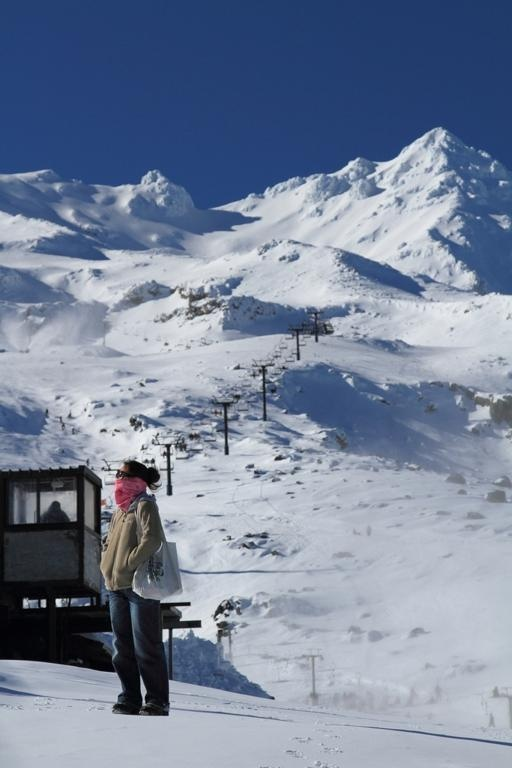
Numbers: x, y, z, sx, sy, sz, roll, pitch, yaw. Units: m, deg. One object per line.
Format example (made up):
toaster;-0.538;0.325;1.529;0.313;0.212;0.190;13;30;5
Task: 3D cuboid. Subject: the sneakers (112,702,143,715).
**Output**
sneakers;-1.325;3.385;15.132;0.293;0.127;0.119;10;-19;2

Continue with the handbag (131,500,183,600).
handbag;-0.950;1.882;15.017;0.568;0.785;0.424;-6;8;-44
